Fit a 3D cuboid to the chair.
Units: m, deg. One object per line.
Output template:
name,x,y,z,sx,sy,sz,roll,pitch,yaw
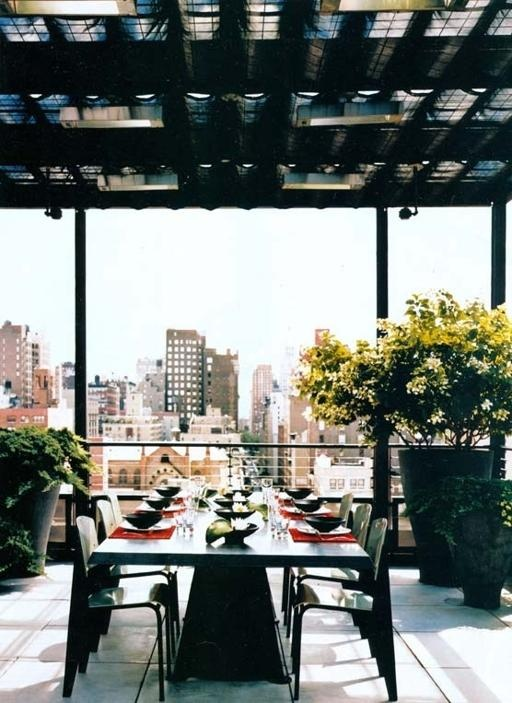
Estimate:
chair,-0.114,1.199,3.743,1.552,0.858,0.745,1,0,0
